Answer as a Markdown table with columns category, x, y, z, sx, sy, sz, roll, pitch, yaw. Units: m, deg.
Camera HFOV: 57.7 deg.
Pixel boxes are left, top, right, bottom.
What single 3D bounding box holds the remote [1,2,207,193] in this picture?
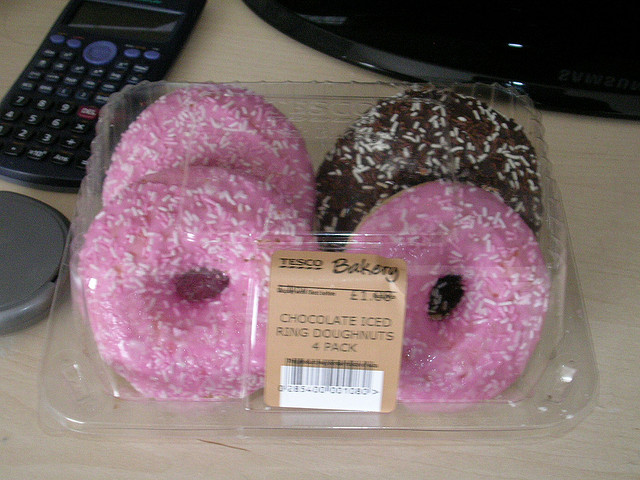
| category | x | y | z | sx | sy | sz | roll | pitch | yaw |
| --- | --- | --- | --- | --- | --- | --- | --- | --- | --- |
| remote | -0.300 | -0.202 | 0.833 | 0.192 | 0.051 | 0.328 | 16 | 52 | 12 |

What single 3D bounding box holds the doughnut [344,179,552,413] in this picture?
| category | x | y | z | sx | sy | sz | roll | pitch | yaw |
| --- | --- | --- | --- | --- | --- | --- | --- | --- | --- |
| doughnut | 0.115 | 0.048 | 0.566 | 0.240 | 0.075 | 0.175 | 7 | 91 | -4 |

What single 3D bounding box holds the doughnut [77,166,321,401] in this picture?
| category | x | y | z | sx | sy | sz | roll | pitch | yaw |
| --- | --- | --- | --- | --- | --- | --- | --- | --- | --- |
| doughnut | -0.136 | 0.031 | 0.564 | 0.094 | 0.276 | 0.213 | -25 | 57 | 44 |

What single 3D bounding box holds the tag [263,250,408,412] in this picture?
| category | x | y | z | sx | sy | sz | roll | pitch | yaw |
| --- | --- | --- | --- | --- | --- | --- | --- | --- | --- |
| tag | 0.012 | 0.069 | 0.503 | 0.155 | 0.034 | 0.121 | 2 | 90 | 1 |
